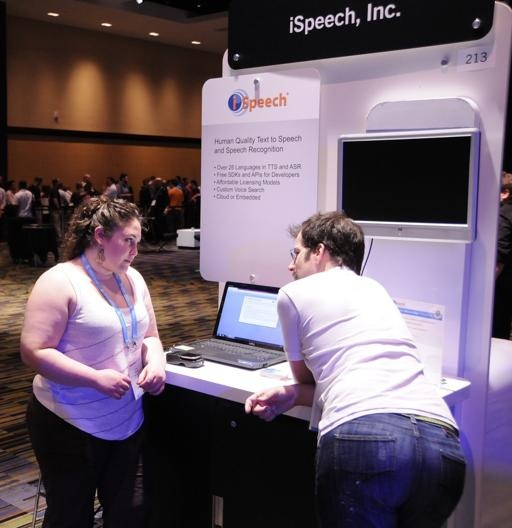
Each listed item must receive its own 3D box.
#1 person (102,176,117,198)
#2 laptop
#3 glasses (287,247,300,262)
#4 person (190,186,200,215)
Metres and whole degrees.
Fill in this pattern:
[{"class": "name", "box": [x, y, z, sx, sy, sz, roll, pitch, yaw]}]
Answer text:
[{"class": "person", "box": [-4.472, -2.377, 13.060, 0.380, 0.551, 1.527, 0, 11, -19]}, {"class": "laptop", "box": [-0.074, 0.164, 1.745, 0.350, 0.259, 0.280, 7, 8, 39]}, {"class": "glasses", "box": [0.118, -0.034, 1.241, 0.050, 0.023, 0.053, 8, 0, 1]}, {"class": "person", "box": [-1.952, -2.084, 13.727, 0.270, 0.873, 1.111, 2, 10, -6]}]
